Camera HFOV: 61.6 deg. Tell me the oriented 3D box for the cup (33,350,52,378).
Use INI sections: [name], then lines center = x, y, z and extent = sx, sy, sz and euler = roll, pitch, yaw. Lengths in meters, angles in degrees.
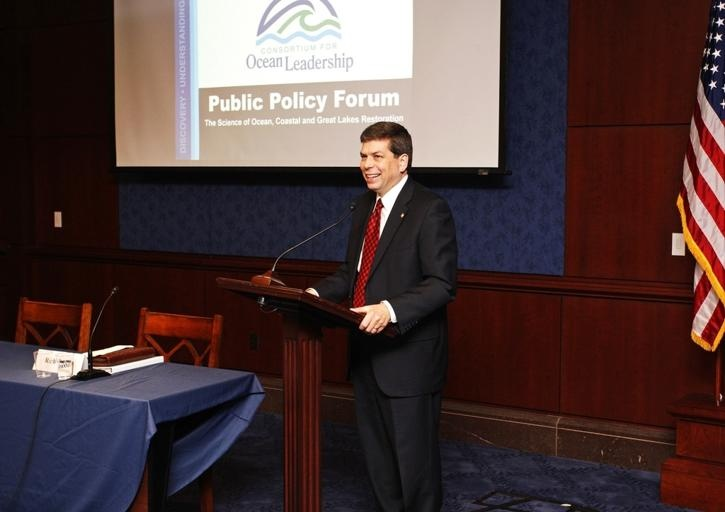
[cup]
center = -1.604, 0.532, 3.019
extent = 0.097, 0.142, 0.116
euler = 1, -8, -5
